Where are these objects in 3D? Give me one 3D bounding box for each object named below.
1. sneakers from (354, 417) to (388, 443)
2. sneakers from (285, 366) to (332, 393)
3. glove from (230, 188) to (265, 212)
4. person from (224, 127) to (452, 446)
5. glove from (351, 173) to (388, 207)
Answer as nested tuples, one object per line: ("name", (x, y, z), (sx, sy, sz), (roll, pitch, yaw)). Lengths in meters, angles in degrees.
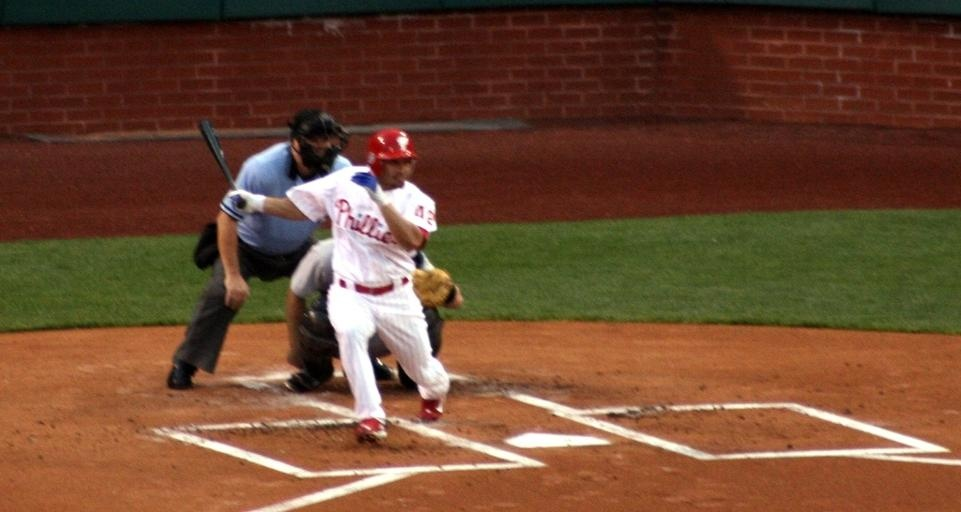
("sneakers", (-1.201, 1.922, 13.338), (0.213, 0.153, 0.411), (2, 3, 16))
("sneakers", (-2.005, 1.470, 14.228), (0.303, 0.155, 0.491), (-12, -8, 35))
("glove", (-2.643, -0.609, 13.733), (0.441, 0.204, 0.136), (6, 46, 16))
("person", (-1.255, 0.275, 13.723), (1.703, 3.400, 1.167), (13, 17, 43))
("glove", (-1.165, -0.722, 13.203), (0.121, 0.455, 0.244), (-14, 45, 45))
